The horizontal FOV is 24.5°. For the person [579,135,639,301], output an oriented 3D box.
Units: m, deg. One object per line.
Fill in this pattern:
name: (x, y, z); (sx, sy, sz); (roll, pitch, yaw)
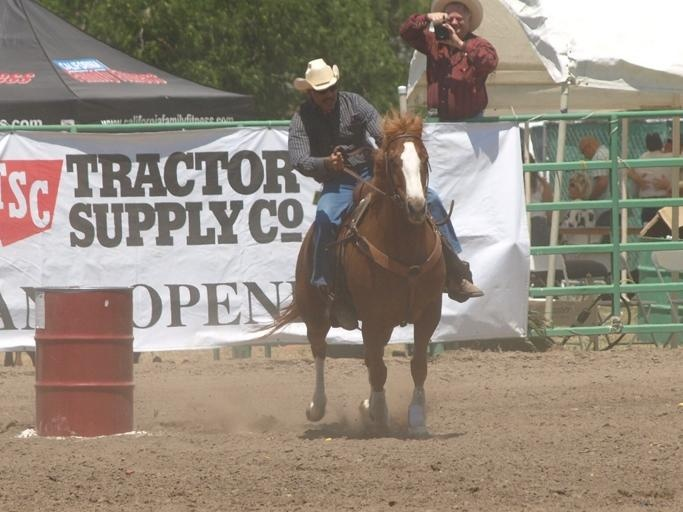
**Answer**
person: (3.636, -0.475, 22.440); (0.450, 2.473, 0.541); (-1, 15, 8)

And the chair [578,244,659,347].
chair: (3.981, 0.617, 22.919); (0.931, 1.127, 0.807); (-12, 23, 11)

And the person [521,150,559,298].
person: (2.838, -0.490, 22.369); (0.468, 1.930, 0.610); (3, 16, 22)

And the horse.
horse: (0.341, 0.264, 19.703); (1.892, 4.014, 0.851); (4, 17, 26)

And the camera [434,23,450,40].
camera: (1.393, -3.087, 21.760); (0.210, 0.192, 0.071); (-7, 9, 10)

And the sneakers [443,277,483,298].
sneakers: (1.599, 0.433, 20.139); (0.543, 0.207, 0.202); (-1, 0, 42)

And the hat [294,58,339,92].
hat: (-0.287, -2.319, 20.057); (0.543, 0.274, 0.640); (-20, 20, -13)

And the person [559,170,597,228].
person: (3.389, -0.783, 22.365); (0.403, 0.770, 0.730); (7, 7, 2)
